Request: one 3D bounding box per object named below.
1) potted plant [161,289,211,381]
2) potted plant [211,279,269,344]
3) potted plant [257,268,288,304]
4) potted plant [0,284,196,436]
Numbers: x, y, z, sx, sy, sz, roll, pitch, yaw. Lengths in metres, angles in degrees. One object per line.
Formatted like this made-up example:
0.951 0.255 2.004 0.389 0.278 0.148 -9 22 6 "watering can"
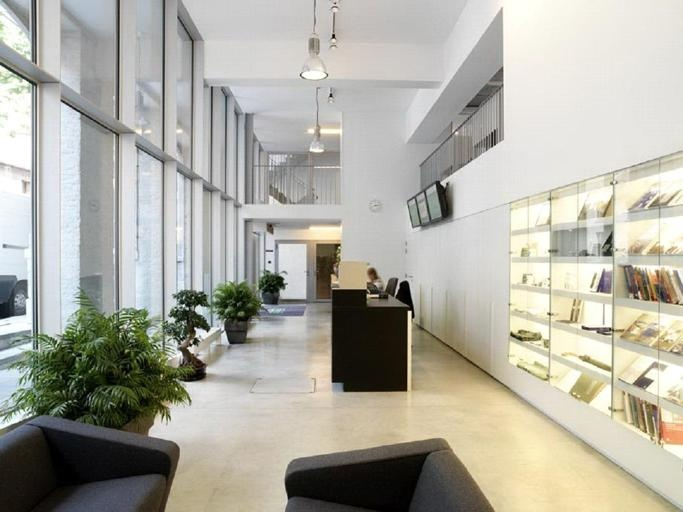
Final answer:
-2.138 1.065 6.526 0.613 1.230 0.438 0 1 6 "potted plant"
-2.028 1.090 9.015 0.894 1.162 0.789 -1 4 -13 "potted plant"
-2.205 0.930 14.706 0.994 1.121 1.035 0 -2 -5 "potted plant"
-2.080 0.621 4.084 1.147 1.246 1.369 0 -4 25 "potted plant"
